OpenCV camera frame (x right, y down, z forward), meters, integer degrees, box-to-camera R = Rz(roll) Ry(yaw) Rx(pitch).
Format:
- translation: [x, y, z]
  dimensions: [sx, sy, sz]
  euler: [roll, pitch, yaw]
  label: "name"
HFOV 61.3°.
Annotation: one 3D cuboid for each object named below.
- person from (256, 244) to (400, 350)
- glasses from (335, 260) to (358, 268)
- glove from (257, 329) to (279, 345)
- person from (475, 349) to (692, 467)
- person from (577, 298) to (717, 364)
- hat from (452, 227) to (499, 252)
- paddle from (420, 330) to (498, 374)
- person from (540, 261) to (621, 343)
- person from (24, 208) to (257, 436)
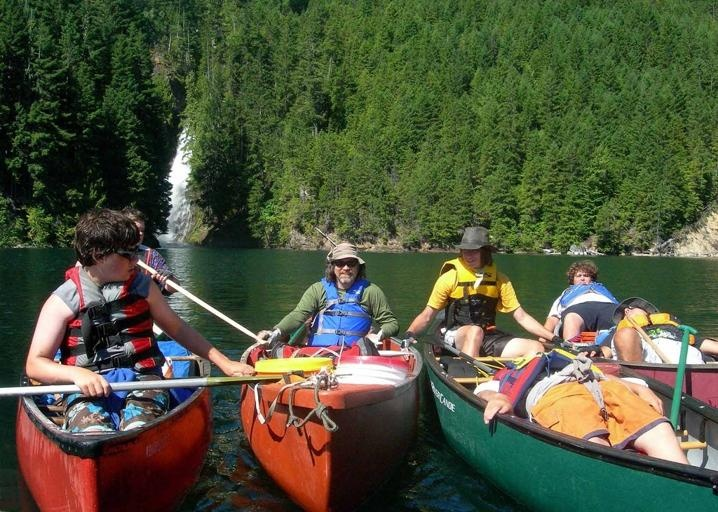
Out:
- translation: [-0.245, 0.432, 6.220]
  dimensions: [1.382, 1.173, 0.755]
  euler: [2, -8, -3]
  label: "person"
- translation: [-0.121, 0.083, 6.135]
  dimensions: [0.232, 0.086, 0.094]
  euler: [2, 6, -6]
  label: "glasses"
- translation: [-0.895, 0.804, 6.044]
  dimensions: [0.172, 0.071, 0.126]
  euler: [-12, 2, -21]
  label: "glove"
- translation: [1.646, 1.108, 4.450]
  dimensions: [0.773, 0.355, 1.017]
  euler: [-11, 17, -26]
  label: "person"
- translation: [2.943, 0.832, 6.201]
  dimensions: [0.813, 0.353, 0.879]
  euler: [2, -4, 7]
  label: "person"
- translation: [1.288, -0.189, 6.633]
  dimensions: [0.425, 0.261, 0.458]
  euler: [3, 6, 9]
  label: "hat"
- translation: [0.919, 0.870, 6.381]
  dimensions: [0.222, 0.104, 1.314]
  euler: [34, -3, -36]
  label: "paddle"
- translation: [2.804, 0.580, 7.659]
  dimensions: [0.769, 0.444, 1.187]
  euler: [-2, 16, 13]
  label: "person"
- translation: [-1.702, 0.472, 4.285]
  dimensions: [1.164, 1.036, 1.475]
  euler: [2, 4, -30]
  label: "person"
